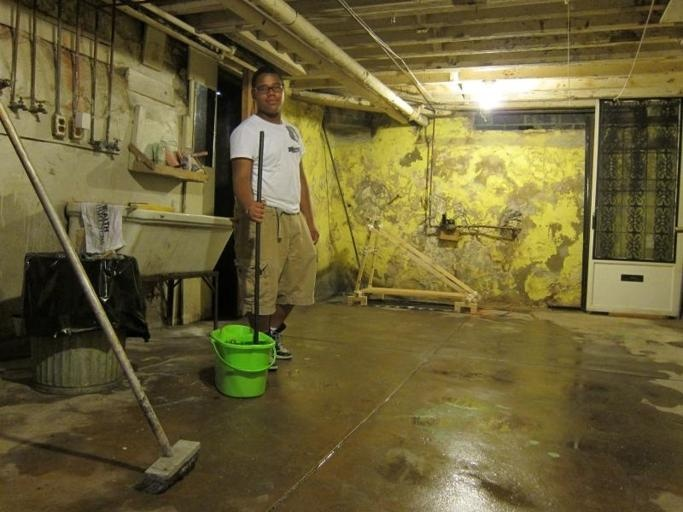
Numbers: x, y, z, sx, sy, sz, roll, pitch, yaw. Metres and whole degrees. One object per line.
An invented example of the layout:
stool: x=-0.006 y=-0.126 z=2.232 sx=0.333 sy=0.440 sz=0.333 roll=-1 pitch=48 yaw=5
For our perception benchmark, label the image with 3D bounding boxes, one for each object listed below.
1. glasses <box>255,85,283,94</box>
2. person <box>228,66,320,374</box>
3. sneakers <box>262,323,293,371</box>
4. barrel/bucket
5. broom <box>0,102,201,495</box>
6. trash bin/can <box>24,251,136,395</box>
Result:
glasses: x=-0.514 y=-1.176 z=3.662 sx=0.179 sy=0.070 sz=0.051 roll=1 pitch=9 yaw=-10
person: x=-0.508 y=-0.238 z=3.703 sx=0.488 sy=2.187 sz=0.858 roll=7 pitch=10 yaw=31
sneakers: x=-0.417 y=0.691 z=3.954 sx=0.341 sy=0.236 sz=0.116 roll=2 pitch=7 yaw=-21
barrel/bucket: x=-0.637 y=0.647 z=3.315 sx=0.389 sy=0.327 sz=0.454 roll=4 pitch=-1 yaw=-23
broom: x=-1.117 y=0.155 z=2.589 sx=0.924 sy=1.712 sz=0.643 roll=4 pitch=9 yaw=14
trash bin/can: x=-1.739 y=0.428 z=3.480 sx=0.749 sy=0.877 sz=0.763 roll=3 pitch=1 yaw=32
